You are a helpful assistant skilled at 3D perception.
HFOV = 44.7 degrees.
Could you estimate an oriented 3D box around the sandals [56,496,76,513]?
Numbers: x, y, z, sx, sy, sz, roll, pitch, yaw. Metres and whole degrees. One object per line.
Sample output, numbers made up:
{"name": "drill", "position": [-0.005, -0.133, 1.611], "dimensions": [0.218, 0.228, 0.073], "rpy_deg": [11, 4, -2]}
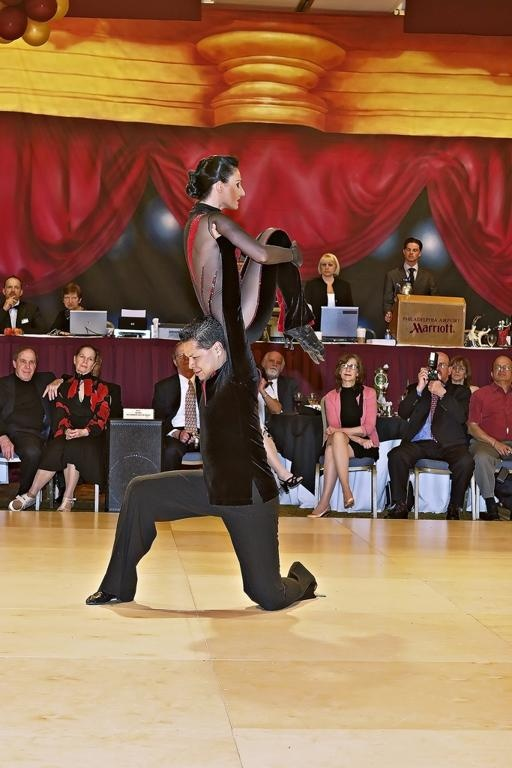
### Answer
{"name": "sandals", "position": [-1.533, 0.974, 4.999], "dimensions": [0.105, 0.116, 0.313], "rpy_deg": [0, -1, 2]}

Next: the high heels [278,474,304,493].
{"name": "high heels", "position": [0.292, 0.807, 5.006], "dimensions": [0.124, 0.113, 0.314], "rpy_deg": [-35, 4, -21]}

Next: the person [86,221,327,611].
{"name": "person", "position": [-0.137, 0.091, 2.281], "dimensions": [0.929, 1.471, 0.607], "rpy_deg": [-1, 2, -10]}

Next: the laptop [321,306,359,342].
{"name": "laptop", "position": [0.839, -0.633, 6.530], "dimensions": [0.418, 0.401, 0.330], "rpy_deg": [1, 15, 0]}

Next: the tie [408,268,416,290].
{"name": "tie", "position": [1.989, -1.348, 7.964], "dimensions": [0.133, 0.249, 0.065], "rpy_deg": [1, -6, 3]}

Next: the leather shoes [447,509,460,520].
{"name": "leather shoes", "position": [1.625, 1.078, 5.152], "dimensions": [0.080, 0.043, 0.111], "rpy_deg": [-12, 32, 10]}

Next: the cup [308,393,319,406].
{"name": "cup", "position": [0.591, 0.159, 6.234], "dimensions": [0.127, 0.092, 0.109], "rpy_deg": [24, -18, -35]}

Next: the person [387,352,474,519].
{"name": "person", "position": [1.565, 0.425, 5.553], "dimensions": [0.857, 1.486, 0.799], "rpy_deg": [1, -9, 2]}

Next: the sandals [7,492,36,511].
{"name": "sandals", "position": [-1.837, 0.931, 4.929], "dimensions": [0.157, 0.124, 0.289], "rpy_deg": [4, -9, -15]}

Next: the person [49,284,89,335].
{"name": "person", "position": [-2.207, -0.907, 7.334], "dimensions": [0.540, 0.738, 0.307], "rpy_deg": [-2, -6, 7]}

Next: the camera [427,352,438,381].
{"name": "camera", "position": [1.588, -0.165, 5.627], "dimensions": [0.075, 0.269, 0.220], "rpy_deg": [-2, -9, 19]}

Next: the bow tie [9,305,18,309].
{"name": "bow tie", "position": [-2.884, -0.908, 7.423], "dimensions": [0.064, 0.057, 0.032], "rpy_deg": [4, -9, -16]}

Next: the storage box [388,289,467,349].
{"name": "storage box", "position": [1.822, -0.644, 6.718], "dimensions": [0.932, 0.688, 0.502], "rpy_deg": [2, 4, 1]}

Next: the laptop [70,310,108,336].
{"name": "laptop", "position": [-1.731, -0.637, 6.499], "dimensions": [0.372, 0.262, 0.261], "rpy_deg": [1, 14, -11]}

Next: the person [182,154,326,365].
{"name": "person", "position": [-0.007, -0.404, 2.104], "dimensions": [0.405, 0.710, 0.301], "rpy_deg": [-13, 22, -12]}

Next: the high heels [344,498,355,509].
{"name": "high heels", "position": [0.776, 0.983, 5.129], "dimensions": [0.059, 0.049, 0.116], "rpy_deg": [-1, -33, 0]}

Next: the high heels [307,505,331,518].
{"name": "high heels", "position": [0.509, 1.038, 5.094], "dimensions": [0.081, 0.066, 0.226], "rpy_deg": [-9, -8, 26]}

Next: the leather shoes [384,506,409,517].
{"name": "leather shoes", "position": [1.192, 1.082, 5.346], "dimensions": [0.187, 0.110, 0.297], "rpy_deg": [0, -9, 10]}
